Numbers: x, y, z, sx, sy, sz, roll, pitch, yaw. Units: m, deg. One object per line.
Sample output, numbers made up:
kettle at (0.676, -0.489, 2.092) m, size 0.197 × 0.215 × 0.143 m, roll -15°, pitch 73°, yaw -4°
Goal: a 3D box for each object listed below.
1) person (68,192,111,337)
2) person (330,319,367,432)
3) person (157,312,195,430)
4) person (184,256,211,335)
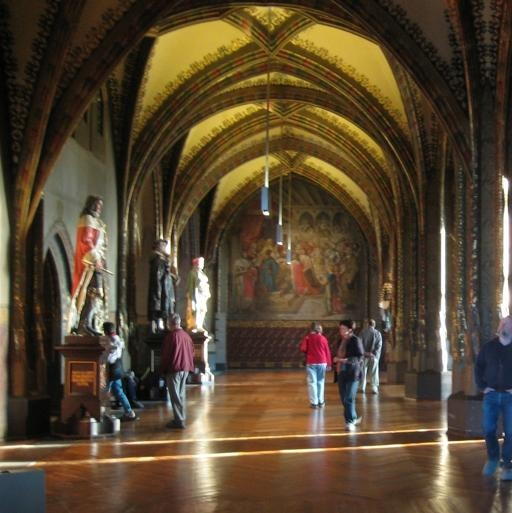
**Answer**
person at (-2.059, 0.096, 8.712) m, size 0.438 × 1.730 × 0.463 m, roll 3°, pitch -10°, yaw -16°
person at (1.175, 1.499, 8.930) m, size 0.362 × 1.393 × 0.457 m, roll 0°, pitch -9°, yaw 1°
person at (-1.058, 1.519, 9.342) m, size 0.420 × 1.517 × 0.479 m, roll 1°, pitch -9°, yaw -8°
person at (-1.443, 0.969, 17.477) m, size 0.558 × 1.836 × 1.460 m, roll 1°, pitch -9°, yaw -6°
